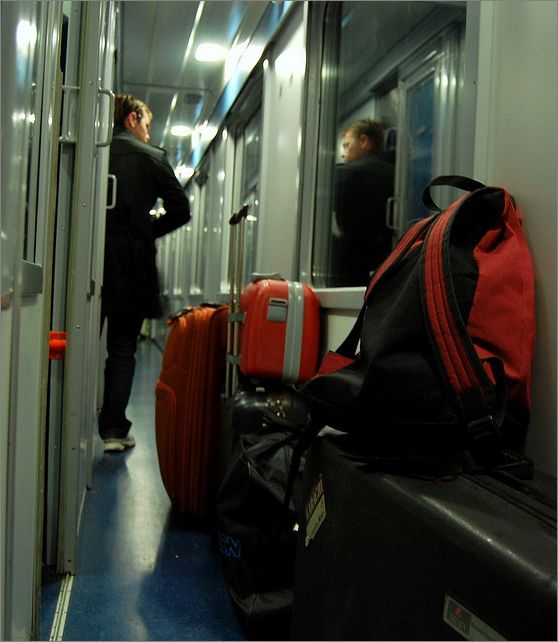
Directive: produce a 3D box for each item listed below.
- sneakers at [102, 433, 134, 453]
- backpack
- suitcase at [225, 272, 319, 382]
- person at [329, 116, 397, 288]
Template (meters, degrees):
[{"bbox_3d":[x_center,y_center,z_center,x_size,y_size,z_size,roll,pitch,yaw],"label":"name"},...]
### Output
[{"bbox_3d":[-0.824,0.624,3.126,0.063,0.108,0.187,2,8,35],"label":"sneakers"},{"bbox_3d":[0.235,-0.037,1.313,0.363,0.802,0.531,14,-14,-5],"label":"backpack"},{"bbox_3d":[-0.051,0.070,2.223,0.240,0.619,0.335,3,-5,-20],"label":"suitcase"},{"bbox_3d":[0.366,-0.377,2.544,0.266,1.085,0.262,4,-28,-3],"label":"person"}]
